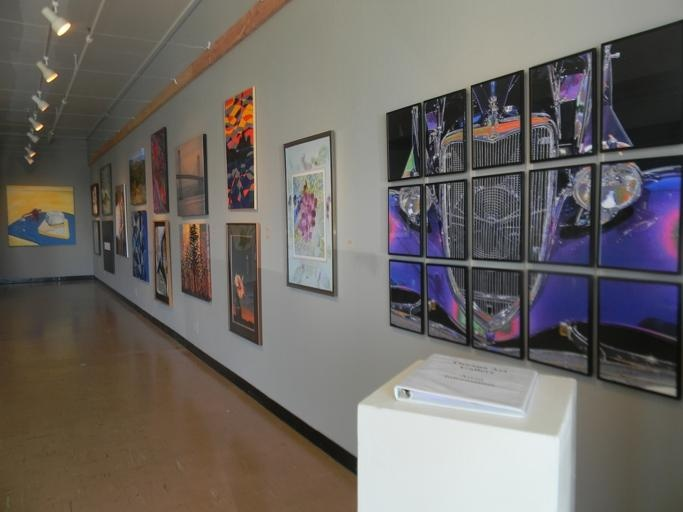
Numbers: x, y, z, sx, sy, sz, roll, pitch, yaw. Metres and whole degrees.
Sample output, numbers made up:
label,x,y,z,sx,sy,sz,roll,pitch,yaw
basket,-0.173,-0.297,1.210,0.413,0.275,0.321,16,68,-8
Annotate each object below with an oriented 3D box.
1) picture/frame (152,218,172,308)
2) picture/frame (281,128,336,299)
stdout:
label,x,y,z,sx,sy,sz,roll,pitch,yaw
picture/frame,-2.674,0.080,7.409,0.050,1.508,1.123,-2,6,-30
picture/frame,-0.254,-0.337,4.012,0.032,1.253,0.685,-4,7,-37
